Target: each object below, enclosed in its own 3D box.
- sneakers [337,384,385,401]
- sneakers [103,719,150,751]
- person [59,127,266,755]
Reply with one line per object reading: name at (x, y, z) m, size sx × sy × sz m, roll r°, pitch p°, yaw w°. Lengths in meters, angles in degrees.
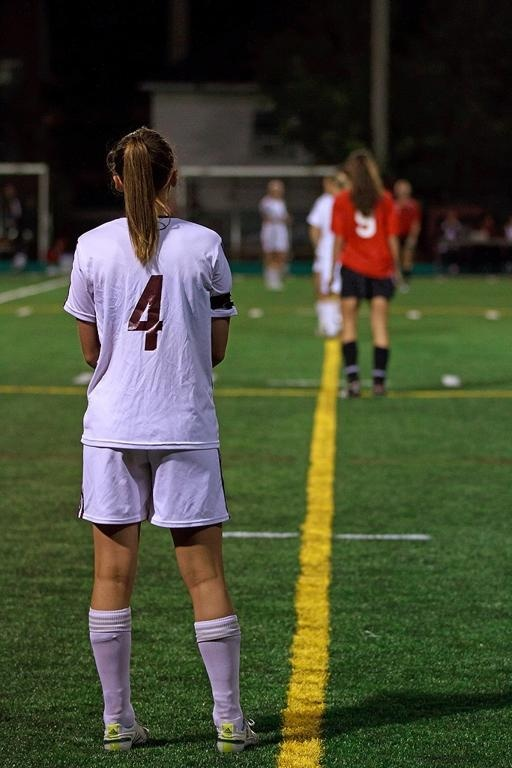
sneakers at (0.391, 0.025, 4.687) m, size 0.186 × 0.074 × 0.061 m, roll 1°, pitch -3°, yaw -2°
sneakers at (-0.332, 0.893, 3.188) m, size 0.051 × 0.057 × 0.138 m, roll -2°, pitch -3°, yaw 25°
person at (-0.247, 0.140, 3.112) m, size 0.426 × 1.550 × 0.270 m, roll -3°, pitch 8°, yaw -5°
